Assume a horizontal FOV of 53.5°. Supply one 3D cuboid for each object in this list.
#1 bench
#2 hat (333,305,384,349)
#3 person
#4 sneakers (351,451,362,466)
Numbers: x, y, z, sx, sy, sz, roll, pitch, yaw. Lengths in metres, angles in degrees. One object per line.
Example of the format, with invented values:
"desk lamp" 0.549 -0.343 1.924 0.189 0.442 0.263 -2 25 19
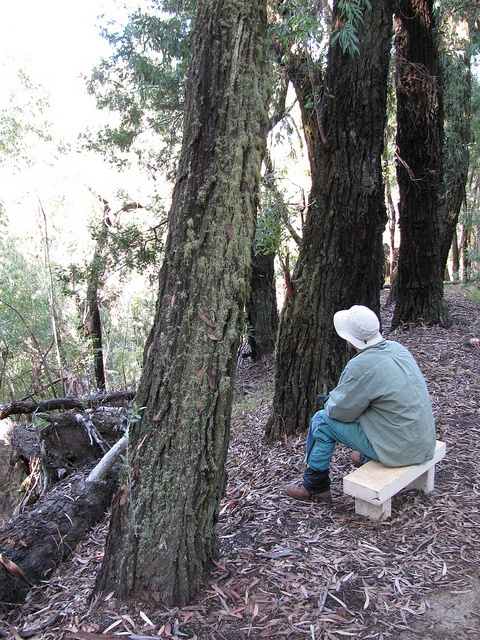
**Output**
"bench" 0.873 1.019 2.839 0.190 0.228 0.578 10 5 44
"hat" 0.736 0.036 3.001 0.230 0.301 0.141 -19 -19 -38
"person" 0.998 0.408 3.435 1.023 1.620 0.969 13 20 43
"sneakers" 0.853 1.004 3.502 0.042 0.051 0.114 -3 30 -8
